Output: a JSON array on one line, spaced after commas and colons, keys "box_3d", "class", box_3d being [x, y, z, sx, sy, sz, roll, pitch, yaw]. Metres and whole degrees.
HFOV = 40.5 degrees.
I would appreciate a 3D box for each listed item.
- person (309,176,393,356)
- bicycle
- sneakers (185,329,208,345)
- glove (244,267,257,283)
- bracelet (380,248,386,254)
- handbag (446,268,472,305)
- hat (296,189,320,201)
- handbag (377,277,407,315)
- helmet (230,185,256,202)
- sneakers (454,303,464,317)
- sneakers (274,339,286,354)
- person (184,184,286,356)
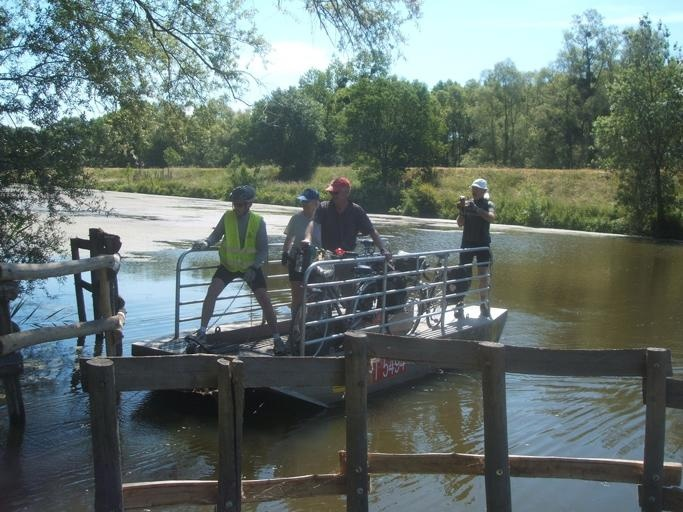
[{"box_3d": [0.012, -0.073, 14.571, 1.251, 2.308, 0.832, 3, 28, -2], "class": "person"}, {"box_3d": [0.398, 0.626, 14.162, 1.283, 1.058, 2.420, -3, -5, 34], "class": "bicycle"}, {"box_3d": [-2.114, 1.175, 13.519, 0.140, 0.194, 0.417, -8, -25, 45], "class": "sneakers"}, {"box_3d": [-1.341, 0.260, 13.498, 0.166, 0.231, 0.202, -1, 6, -7], "class": "glove"}, {"box_3d": [0.634, -0.077, 13.796, 0.083, 0.087, 0.174, 0, 6, -4], "class": "bracelet"}, {"box_3d": [1.973, 0.516, 15.573, 0.206, 0.663, 0.445, 10, 5, -19], "class": "handbag"}, {"box_3d": [-0.493, -0.949, 14.567, 0.325, 0.189, 0.213, 13, -1, -37], "class": "hat"}, {"box_3d": [0.812, 0.567, 14.432, 0.378, 0.515, 0.539, -1, -2, 15], "class": "handbag"}, {"box_3d": [-1.501, -0.958, 13.807, 0.302, 0.270, 0.238, -2, -1, 27], "class": "helmet"}, {"box_3d": [1.955, 0.895, 15.368, 0.129, 0.214, 0.203, -4, 30, 8], "class": "sneakers"}, {"box_3d": [-0.909, 1.319, 13.577, 0.193, 0.376, 0.187, -1, 2, -5], "class": "sneakers"}, {"box_3d": [-1.515, 0.161, 13.822, 1.312, 2.398, 1.094, -1, 6, -5], "class": "person"}]
